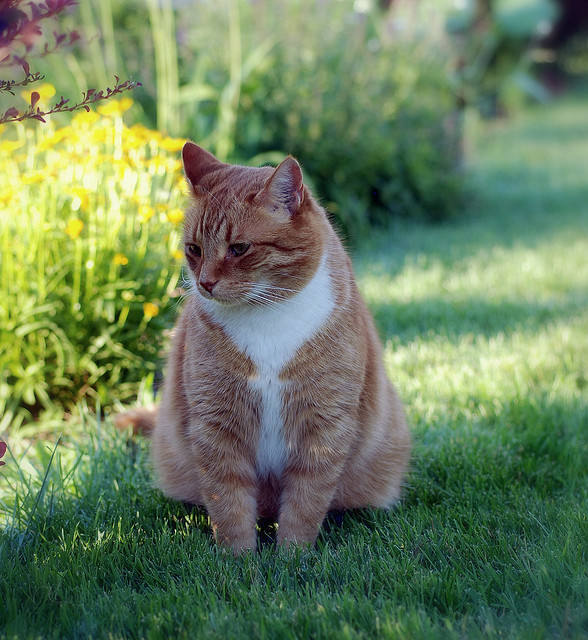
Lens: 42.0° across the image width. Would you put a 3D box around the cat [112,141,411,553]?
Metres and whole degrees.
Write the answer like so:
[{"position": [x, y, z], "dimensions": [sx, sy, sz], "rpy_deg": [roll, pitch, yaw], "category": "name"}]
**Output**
[{"position": [-0.181, 0.011, 2.907], "dimensions": [1.003, 1.421, 1.602], "rpy_deg": [-7, 17, -21], "category": "cat"}]
